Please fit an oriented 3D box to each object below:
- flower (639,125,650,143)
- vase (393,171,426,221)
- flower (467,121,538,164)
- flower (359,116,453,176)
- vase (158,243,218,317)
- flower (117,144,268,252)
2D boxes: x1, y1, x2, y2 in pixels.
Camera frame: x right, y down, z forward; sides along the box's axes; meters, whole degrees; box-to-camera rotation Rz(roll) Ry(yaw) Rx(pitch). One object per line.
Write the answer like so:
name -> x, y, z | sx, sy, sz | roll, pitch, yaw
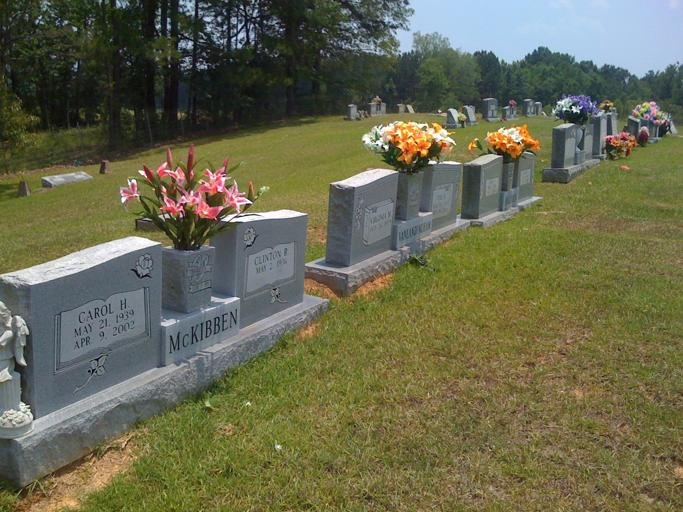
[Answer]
flower -> 13.314, -5.096, 27.151 | 0.300, 0.585, 1.103 | 6, 60, 13
vase -> 1.322, -1.016, 11.069 | 0.541, 0.704, 0.528 | 11, 10, 38
flower -> 3.433, -2.523, 14.081 | 1.121, 0.749, 1.049 | -2, 34, 7
flower -> 1.272, -1.892, 10.902 | 1.102, 0.707, 1.117 | -8, 19, -27
vase -> -1.888, 0.242, 7.731 | 0.539, 0.738, 0.566 | 7, 13, 17
flower -> -1.926, -0.557, 7.778 | 1.553, 1.181, 1.363 | -6, -7, 7
